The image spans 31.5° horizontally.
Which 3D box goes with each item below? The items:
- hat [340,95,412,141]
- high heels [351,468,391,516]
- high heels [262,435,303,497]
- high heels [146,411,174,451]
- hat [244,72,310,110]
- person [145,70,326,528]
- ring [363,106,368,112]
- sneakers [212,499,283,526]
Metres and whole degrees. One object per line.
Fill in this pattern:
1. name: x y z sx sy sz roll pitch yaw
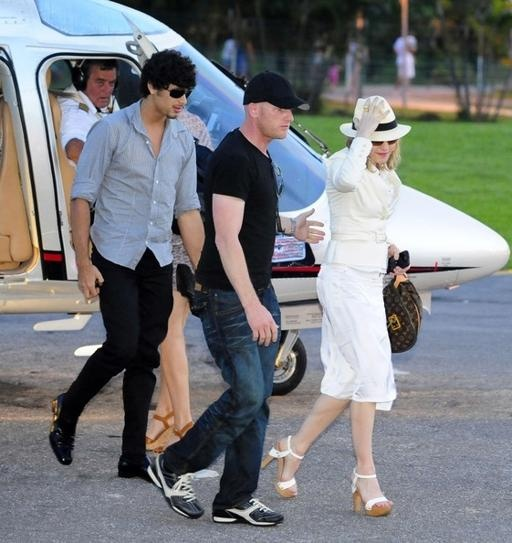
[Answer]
1. hat: 0.560 -0.697 4.221 0.294 0.108 0.267 -1 17 4
2. high heels: 0.519 1.008 4.153 0.116 0.184 0.301 2 -3 -30
3. high heels: 0.137 0.911 4.297 0.158 0.345 0.140 -3 10 28
4. high heels: -0.514 0.875 4.915 0.095 0.092 0.268 1 5 26
5. hat: 0.098 -0.732 3.659 0.254 0.118 0.153 2 16 16
6. person: -0.087 0.132 3.907 0.532 1.952 0.675 4 10 15
7. ring: 0.502 -0.741 4.104 0.027 0.025 0.027 2 22 -1
8. sneakers: -0.017 1.047 3.976 0.351 0.124 0.113 1 1 -3
